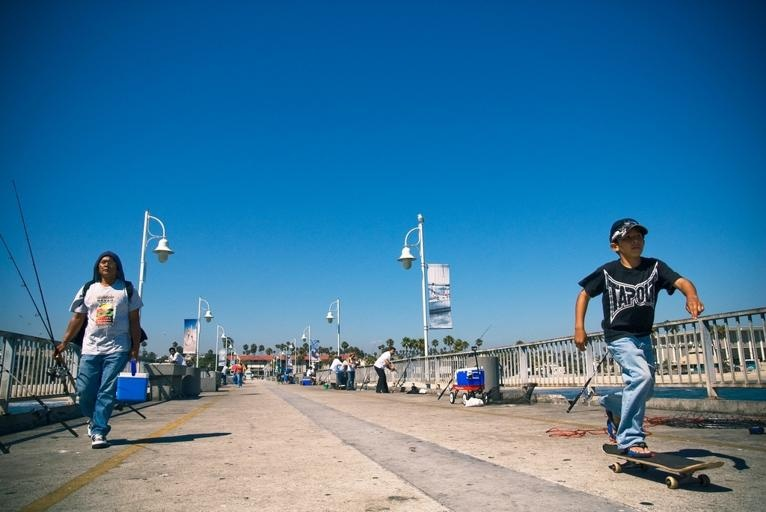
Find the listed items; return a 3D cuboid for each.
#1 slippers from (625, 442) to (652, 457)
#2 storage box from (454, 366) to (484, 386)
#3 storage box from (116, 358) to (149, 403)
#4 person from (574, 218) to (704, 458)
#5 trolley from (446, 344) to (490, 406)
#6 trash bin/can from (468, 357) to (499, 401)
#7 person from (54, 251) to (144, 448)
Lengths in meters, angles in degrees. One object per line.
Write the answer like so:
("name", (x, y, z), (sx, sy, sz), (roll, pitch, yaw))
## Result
("slippers", (2.633, 2.003, 5.038), (0.256, 0.139, 0.140), (-6, -12, 25))
("storage box", (2.437, 3.369, 13.586), (0.627, 0.367, 0.608), (5, -9, -25))
("storage box", (-5.633, 2.722, 10.666), (0.625, 0.945, 0.754), (-13, -22, 19))
("person", (2.833, 0.840, 5.267), (0.843, 2.506, 1.419), (7, -10, -27))
("trolley", (2.423, 3.400, 13.841), (0.834, 1.567, 1.219), (3, -12, -17))
("trash bin/can", (3.109, 3.729, 14.649), (0.858, 1.384, 0.858), (0, -7, -17))
("person", (-4.014, 1.266, 6.961), (1.105, 2.652, 0.878), (0, -6, -11))
